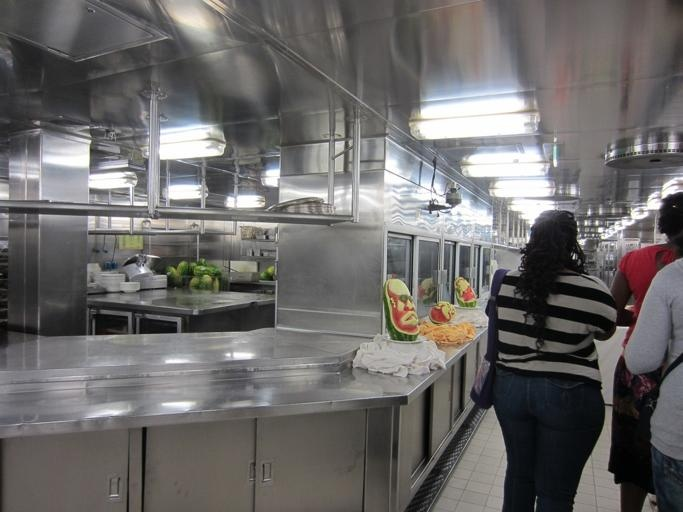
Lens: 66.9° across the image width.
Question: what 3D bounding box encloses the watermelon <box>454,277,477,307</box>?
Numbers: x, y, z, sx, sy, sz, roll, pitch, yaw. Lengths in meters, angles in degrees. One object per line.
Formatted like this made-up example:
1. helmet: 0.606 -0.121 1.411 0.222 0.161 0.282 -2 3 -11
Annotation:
1. watermelon: 1.265 0.412 5.375 0.202 0.323 0.119 -10 -20 -11

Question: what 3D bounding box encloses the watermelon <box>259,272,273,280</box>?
1. watermelon: -1.255 0.346 8.683 0.165 0.112 0.140 1 5 22

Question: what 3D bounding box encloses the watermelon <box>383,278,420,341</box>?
1. watermelon: 0.415 0.366 3.629 0.234 0.441 0.195 -1 -28 -25

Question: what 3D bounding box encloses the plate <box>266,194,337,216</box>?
1. plate: -0.284 -0.346 3.641 0.567 0.127 0.184 -3 3 -28

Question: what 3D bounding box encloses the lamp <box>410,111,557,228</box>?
1. lamp: 1.337 -0.939 4.705 0.956 0.268 2.422 0 3 24

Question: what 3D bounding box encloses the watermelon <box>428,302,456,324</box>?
1. watermelon: 0.904 0.509 4.651 0.171 0.163 0.208 -10 4 -8

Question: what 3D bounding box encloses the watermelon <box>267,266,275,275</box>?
1. watermelon: -1.192 0.253 8.730 0.139 0.093 0.161 3 14 0

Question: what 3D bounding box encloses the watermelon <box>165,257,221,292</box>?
1. watermelon: -2.340 0.313 8.156 0.692 0.420 1.159 -3 3 -34
